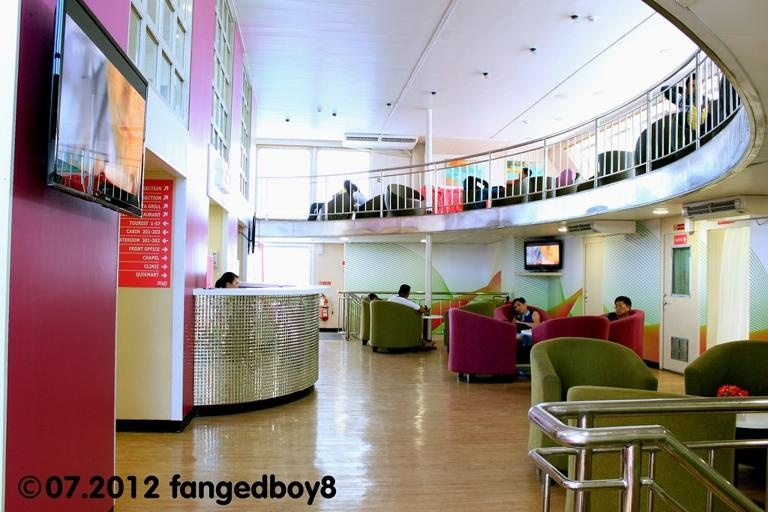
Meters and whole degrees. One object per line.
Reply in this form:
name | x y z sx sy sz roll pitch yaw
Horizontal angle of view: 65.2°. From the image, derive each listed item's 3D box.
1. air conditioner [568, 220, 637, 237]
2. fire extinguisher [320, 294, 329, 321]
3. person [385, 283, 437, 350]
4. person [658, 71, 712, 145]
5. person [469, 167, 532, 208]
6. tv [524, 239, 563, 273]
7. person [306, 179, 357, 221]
air conditioner | 3.907 -0.519 10.737 1.060 0.269 0.672 -2 8 -28
fire extinguisher | -1.571 1.401 16.087 0.246 0.679 0.230 -2 7 -30
person | 0.534 1.249 12.764 1.299 1.559 1.156 -2 3 -19
person | 4.031 -1.981 7.773 0.748 0.650 0.203 -9 6 4
person | 2.383 -1.366 12.162 1.312 0.815 0.759 1 -5 9
tv | 3.702 0.007 13.765 0.743 0.613 0.197 -3 -8 42
person | -1.328 -1.314 14.542 1.243 1.181 0.922 0 -4 10
